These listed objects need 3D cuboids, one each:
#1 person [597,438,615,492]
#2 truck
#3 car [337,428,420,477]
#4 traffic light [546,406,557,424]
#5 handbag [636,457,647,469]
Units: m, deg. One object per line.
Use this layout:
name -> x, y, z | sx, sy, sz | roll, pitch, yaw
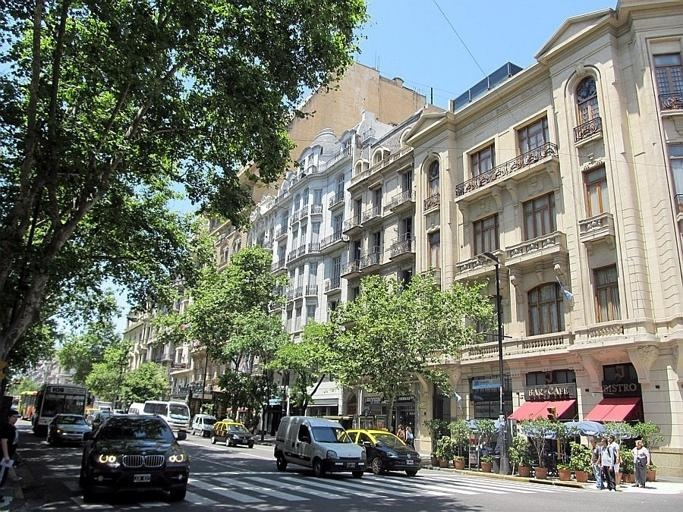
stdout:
person -> 10.631, 8.392, 20.302 | 0.496, 1.843, 0.935 | -5, -23, 20
truck -> -0.972, 7.886, 20.974 | 2.268, 1.744, 3.793 | 17, -29, -31
car -> 1.670, 8.940, 22.988 | 1.895, 1.299, 2.973 | 14, -29, -26
traffic light -> 10.612, 8.135, 25.609 | 0.577, 0.972, 0.525 | 17, -22, -23
handbag -> 11.957, 8.261, 20.252 | 0.461, 0.550, 0.346 | 0, -3, 30
